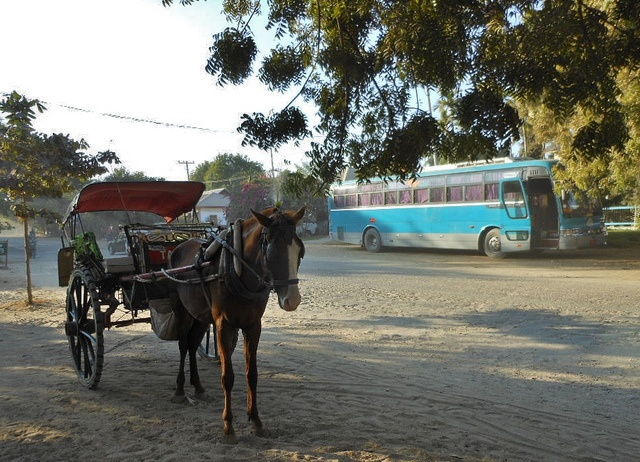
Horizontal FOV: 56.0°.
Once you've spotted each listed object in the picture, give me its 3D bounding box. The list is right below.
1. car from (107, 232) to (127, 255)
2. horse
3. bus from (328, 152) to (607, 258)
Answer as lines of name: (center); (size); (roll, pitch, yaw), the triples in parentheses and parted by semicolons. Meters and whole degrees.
car: (-12.193, 0.793, 36.306); (1.378, 1.182, 2.341); (0, 4, -32)
horse: (-1.300, 1.215, 8.246); (0.879, 2.978, 3.429); (1, -3, -35)
bus: (5.464, -0.985, 26.625); (3.074, 4.426, 13.587); (-6, 9, -35)
